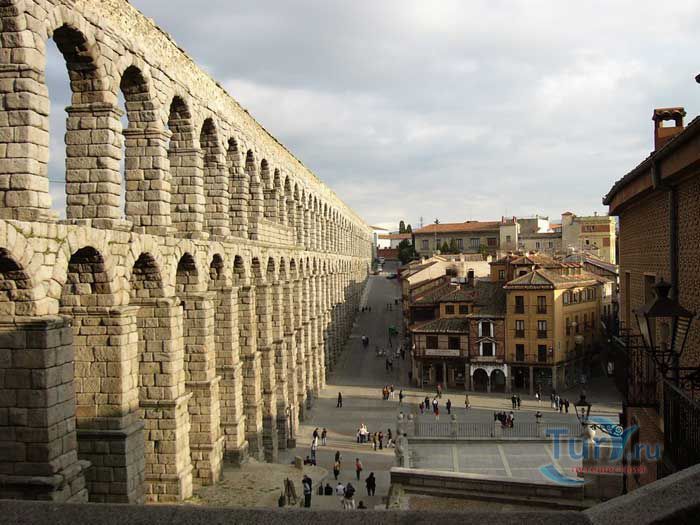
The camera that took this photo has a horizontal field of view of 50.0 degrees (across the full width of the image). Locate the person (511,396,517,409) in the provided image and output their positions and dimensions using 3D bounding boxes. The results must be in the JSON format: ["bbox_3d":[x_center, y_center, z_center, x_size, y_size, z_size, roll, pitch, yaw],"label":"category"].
[{"bbox_3d":[10.922,9.300,49.627,0.285,0.792,0.672,-1,-5,10],"label":"person"}]

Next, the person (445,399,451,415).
[{"bbox_3d":[6.525,9.630,49.678,0.416,0.341,0.917,2,-48,7],"label":"person"}]

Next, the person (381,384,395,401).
[{"bbox_3d":[2.765,9.383,53.422,0.932,1.036,0.788,-1,0,1],"label":"person"}]

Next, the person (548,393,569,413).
[{"bbox_3d":[13.929,9.407,49.673,0.724,1.499,2.697,1,2,32],"label":"person"}]
